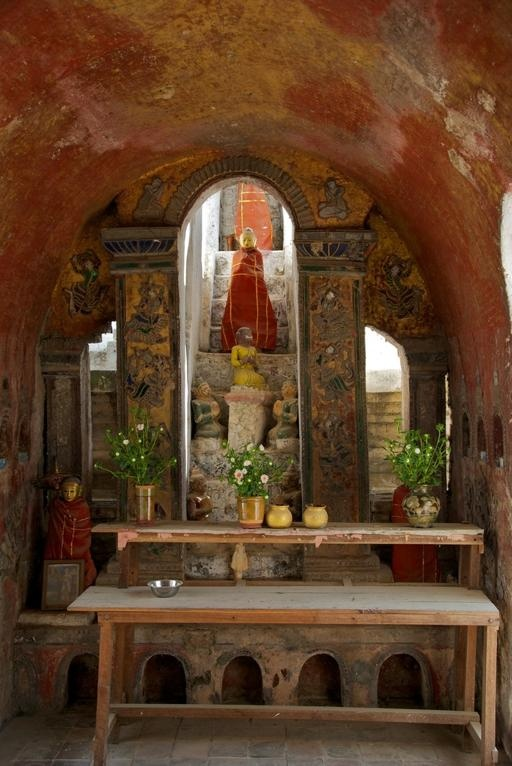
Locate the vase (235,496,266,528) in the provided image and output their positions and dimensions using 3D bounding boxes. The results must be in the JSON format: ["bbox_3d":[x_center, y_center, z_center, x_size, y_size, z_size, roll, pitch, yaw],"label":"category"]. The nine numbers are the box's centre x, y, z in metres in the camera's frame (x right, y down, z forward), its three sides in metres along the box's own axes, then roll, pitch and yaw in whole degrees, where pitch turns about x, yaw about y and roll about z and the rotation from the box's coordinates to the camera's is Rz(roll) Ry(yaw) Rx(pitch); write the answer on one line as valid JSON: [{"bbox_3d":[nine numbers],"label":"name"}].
[{"bbox_3d":[-0.023,0.703,3.807,0.169,0.144,0.164,0,-2,-21],"label":"vase"}]

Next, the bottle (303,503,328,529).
[{"bbox_3d":[0.349,0.744,3.900,0.129,0.108,0.126,-2,2,-12],"label":"bottle"}]

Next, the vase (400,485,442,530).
[{"bbox_3d":[0.971,0.714,3.961,0.219,0.248,0.216,-1,-2,1],"label":"vase"}]

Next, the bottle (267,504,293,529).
[{"bbox_3d":[0.137,0.737,3.872,0.132,0.107,0.132,1,3,16],"label":"bottle"}]

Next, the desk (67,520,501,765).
[{"bbox_3d":[0.182,1.443,3.936,2.187,1.280,1.106,-1,-8,3],"label":"desk"}]

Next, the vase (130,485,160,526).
[{"bbox_3d":[-0.661,0.727,4.134,0.111,0.221,0.194,2,-8,-16],"label":"vase"}]

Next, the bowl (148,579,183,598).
[{"bbox_3d":[-0.485,1.118,3.768,0.113,0.039,0.110,-2,2,0],"label":"bowl"}]
